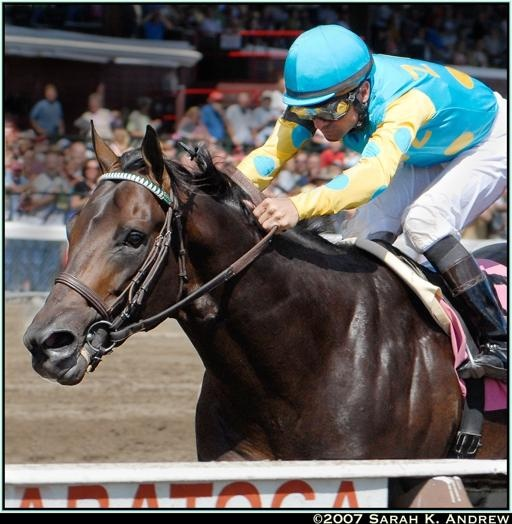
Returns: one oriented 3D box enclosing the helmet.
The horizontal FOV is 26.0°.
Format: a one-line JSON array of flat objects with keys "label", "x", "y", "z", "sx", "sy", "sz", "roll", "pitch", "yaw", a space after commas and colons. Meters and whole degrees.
[{"label": "helmet", "x": 0.215, "y": -0.693, "z": 3.716, "sx": 0.310, "sy": 0.182, "sz": 0.369, "roll": 18, "pitch": 43, "yaw": 25}]
